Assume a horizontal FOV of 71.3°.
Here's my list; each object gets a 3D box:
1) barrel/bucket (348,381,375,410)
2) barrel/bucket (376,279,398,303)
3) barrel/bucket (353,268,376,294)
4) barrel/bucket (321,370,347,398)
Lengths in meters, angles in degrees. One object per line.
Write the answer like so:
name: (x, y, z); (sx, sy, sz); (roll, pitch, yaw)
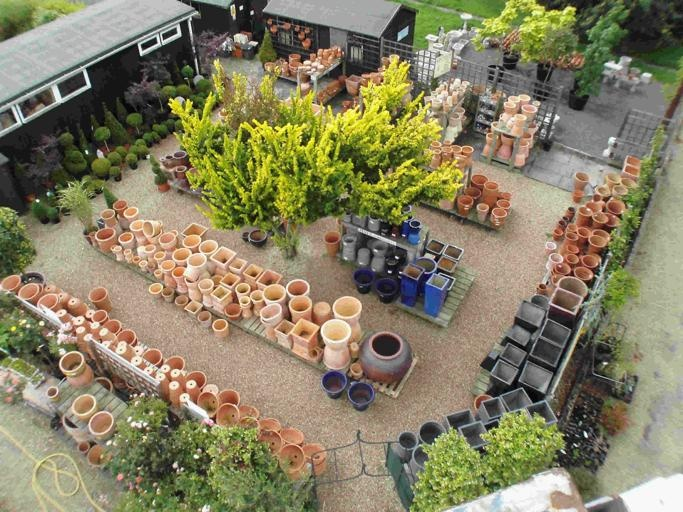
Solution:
barrel/bucket: (0.479, 3.476, 11.763); (0.668, 0.492, 0.590); (18, 53, 9)
barrel/bucket: (1.304, 1.061, 13.770); (0.636, 0.500, 0.688); (-1, 64, 2)
barrel/bucket: (0.628, 0.708, 13.837); (0.636, 0.482, 0.647); (-1, 55, 1)
barrel/bucket: (-0.176, 3.229, 11.946); (0.653, 0.509, 0.561); (7, 52, 1)
